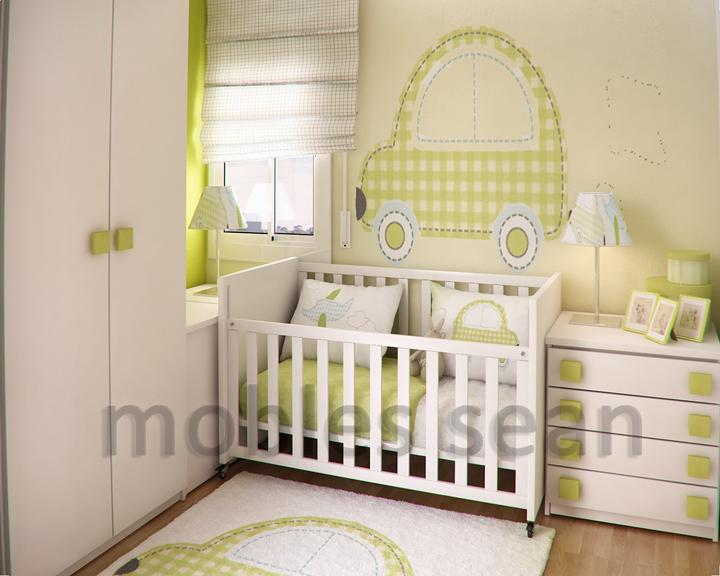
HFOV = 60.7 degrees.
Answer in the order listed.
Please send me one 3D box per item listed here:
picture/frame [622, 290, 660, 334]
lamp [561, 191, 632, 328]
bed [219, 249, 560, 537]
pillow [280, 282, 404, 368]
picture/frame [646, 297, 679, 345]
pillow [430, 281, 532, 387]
[{"bbox_3d":[1.189,0.103,2.598,0.021,0.239,0.159,23,-15,-29],"label":"picture/frame"},{"bbox_3d":[1.074,-0.127,2.768,0.274,0.597,0.272,2,12,23],"label":"lamp"},{"bbox_3d":[0.188,0.485,3.015,1.502,1.179,1.030,1,3,22],"label":"bed"},{"bbox_3d":[-0.067,0.186,3.046,0.437,0.455,0.128,2,-17,19],"label":"pillow"},{"bbox_3d":[1.243,0.133,2.497,0.093,0.162,0.120,4,11,-29],"label":"picture/frame"},{"bbox_3d":[0.534,0.214,2.708,0.371,0.400,0.140,3,-11,22],"label":"pillow"}]
